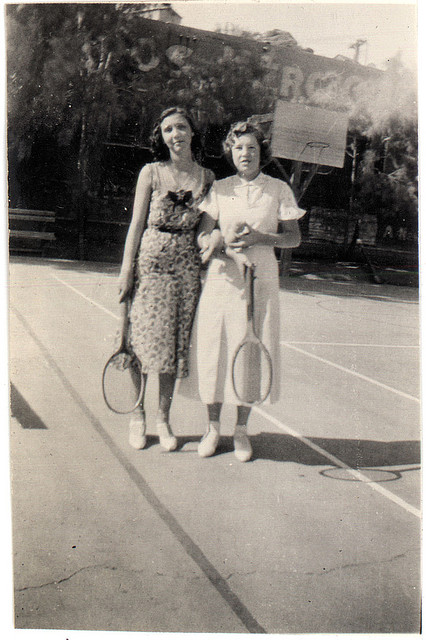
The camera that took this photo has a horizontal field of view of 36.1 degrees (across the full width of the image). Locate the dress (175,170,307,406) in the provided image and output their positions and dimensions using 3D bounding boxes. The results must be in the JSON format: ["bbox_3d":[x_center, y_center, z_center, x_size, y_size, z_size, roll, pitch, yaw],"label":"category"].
[{"bbox_3d":[0.104,-0.073,2.414,0.338,1.023,0.322,1,5,-9],"label":"dress"}]

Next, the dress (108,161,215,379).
[{"bbox_3d":[-0.140,-0.249,2.443,0.216,0.902,0.211,12,9,-1],"label":"dress"}]

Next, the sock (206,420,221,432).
[{"bbox_3d":[0.000,0.412,2.516,0.036,0.046,0.047,6,-12,-22],"label":"sock"}]

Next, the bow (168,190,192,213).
[{"bbox_3d":[-0.119,-0.429,2.363,0.064,0.081,0.024,-3,12,-10],"label":"bow"}]

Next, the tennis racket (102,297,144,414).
[{"bbox_3d":[-0.355,0.136,2.550,0.156,0.453,0.174,-4,11,-39],"label":"tennis racket"}]

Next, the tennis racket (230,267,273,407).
[{"bbox_3d":[0.134,0.067,2.457,0.157,0.502,0.217,2,13,-15],"label":"tennis racket"}]
